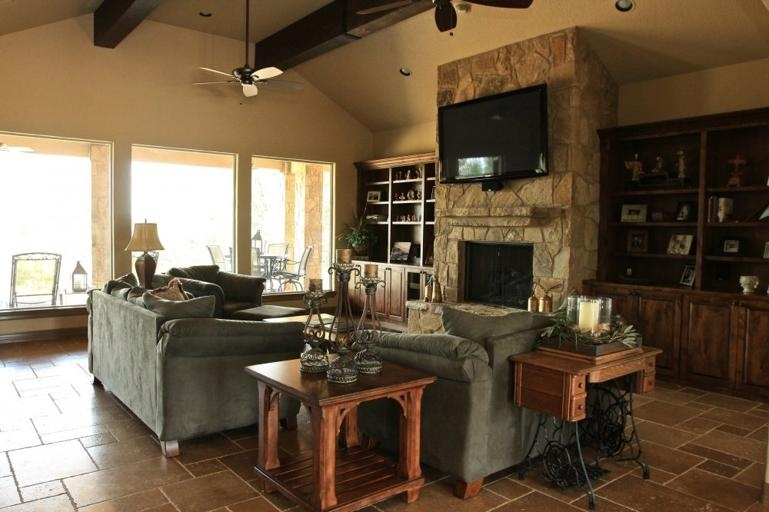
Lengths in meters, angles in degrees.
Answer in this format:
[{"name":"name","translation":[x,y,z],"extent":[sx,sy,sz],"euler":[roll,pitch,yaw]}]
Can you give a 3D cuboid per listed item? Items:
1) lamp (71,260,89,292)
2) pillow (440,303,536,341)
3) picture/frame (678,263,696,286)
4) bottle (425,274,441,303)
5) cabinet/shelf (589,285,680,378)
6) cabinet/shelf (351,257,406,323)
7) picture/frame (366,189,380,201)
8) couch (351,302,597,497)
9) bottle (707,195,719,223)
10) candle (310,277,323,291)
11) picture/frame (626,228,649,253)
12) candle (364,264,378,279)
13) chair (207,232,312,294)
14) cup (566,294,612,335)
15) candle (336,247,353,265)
[{"name":"lamp","translation":[-4.576,0.311,8.589],"extent":[0.234,0.465,0.052],"euler":[-3,4,-27]},{"name":"pillow","translation":[0.980,0.616,5.303],"extent":[0.582,0.167,0.566],"euler":[0,6,-18]},{"name":"picture/frame","translation":[3.779,0.231,7.106],"extent":[0.036,0.342,0.265],"euler":[21,-12,-15]},{"name":"bottle","translation":[0.732,0.485,8.538],"extent":[0.261,0.398,0.285],"euler":[-1,4,0]},{"name":"cabinet/shelf","translation":[2.617,0.783,5.839],"extent":[0.477,0.973,1.098],"euler":[2,2,-44]},{"name":"cabinet/shelf","translation":[-0.033,0.515,8.459],"extent":[0.432,0.819,1.199],"euler":[1,0,-42]},{"name":"picture/frame","translation":[-0.197,-1.114,10.509],"extent":[0.255,0.175,0.035],"euler":[5,-5,44]},{"name":"couch","translation":[0.782,1.117,5.005],"extent":[1.607,1.329,1.469],"euler":[-3,6,-40]},{"name":"bottle","translation":[3.895,-0.554,6.794],"extent":[0.060,0.246,0.246],"euler":[3,5,23]},{"name":"candle","translation":[-0.533,0.221,4.576],"extent":[0.102,0.080,0.100],"euler":[2,0,5]},{"name":"picture/frame","translation":[3.371,-0.207,7.568],"extent":[0.044,0.420,0.325],"euler":[17,-16,-40]},{"name":"candle","translation":[-0.100,0.119,4.564],"extent":[0.110,0.114,0.110],"euler":[5,8,30]},{"name":"chair","translation":[-1.933,0.160,9.993],"extent":[1.211,0.759,1.175],"euler":[0,-2,5]},{"name":"cup","translation":[1.783,0.492,4.932],"extent":[0.323,0.315,0.341],"euler":[0,-4,0]},{"name":"candle","translation":[-0.312,0.009,4.523],"extent":[0.104,0.119,0.104],"euler":[-2,4,-15]}]
